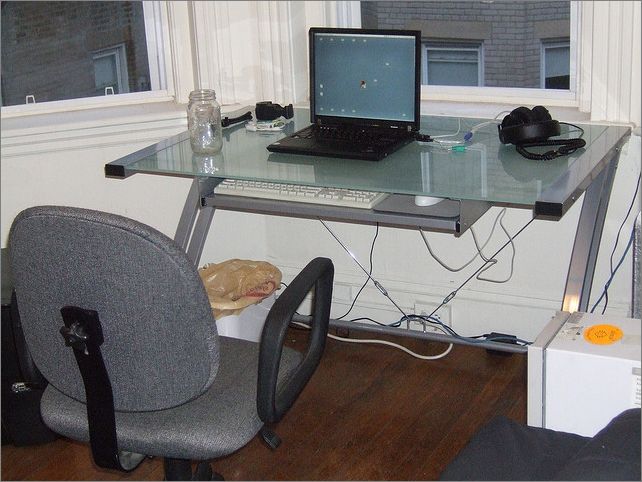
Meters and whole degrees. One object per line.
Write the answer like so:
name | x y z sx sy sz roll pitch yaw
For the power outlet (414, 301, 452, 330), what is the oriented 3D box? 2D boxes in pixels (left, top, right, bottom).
power outlet | 0.500 0.323 2.679 0.109 0.101 0.037 6 23 15

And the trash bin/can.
trash bin/can | -0.328 0.217 2.475 0.346 0.338 0.328 7 19 6

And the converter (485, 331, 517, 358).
converter | 0.752 0.422 2.526 0.145 0.074 0.099 9 30 23
